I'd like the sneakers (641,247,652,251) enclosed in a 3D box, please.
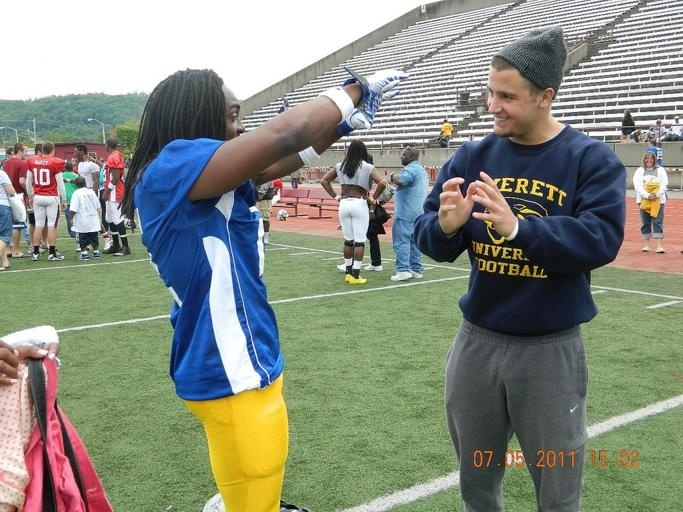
[{"bbox_3d":[6.007,-0.138,11.137,0.097,0.100,0.232,7,16,42],"label":"sneakers"}]

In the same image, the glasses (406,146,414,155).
[{"bbox_3d":[1.080,-1.686,8.937,0.131,0.152,0.181,-3,1,-6],"label":"glasses"}]

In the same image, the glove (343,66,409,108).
[{"bbox_3d":[0.136,-0.662,2.168,0.203,0.063,0.177,-33,23,-34],"label":"glove"}]

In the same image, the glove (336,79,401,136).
[{"bbox_3d":[0.101,-0.594,2.158,0.180,0.276,0.090,31,-24,-6],"label":"glove"}]

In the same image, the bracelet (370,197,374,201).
[{"bbox_3d":[0.474,-0.907,9.037,0.063,0.065,0.080,19,29,16],"label":"bracelet"}]

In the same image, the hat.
[{"bbox_3d":[0.780,-0.790,2.296,0.317,0.285,0.245,-5,19,-9],"label":"hat"}]

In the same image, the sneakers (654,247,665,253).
[{"bbox_3d":[6.232,-0.111,11.015,0.114,0.097,0.217,1,15,13],"label":"sneakers"}]

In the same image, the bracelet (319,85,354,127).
[{"bbox_3d":[0.004,-0.531,2.023,0.083,0.120,0.120,-31,31,36],"label":"bracelet"}]

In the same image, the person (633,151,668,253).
[{"bbox_3d":[6.205,-1.115,11.324,0.558,2.006,1.375,1,8,29],"label":"person"}]
